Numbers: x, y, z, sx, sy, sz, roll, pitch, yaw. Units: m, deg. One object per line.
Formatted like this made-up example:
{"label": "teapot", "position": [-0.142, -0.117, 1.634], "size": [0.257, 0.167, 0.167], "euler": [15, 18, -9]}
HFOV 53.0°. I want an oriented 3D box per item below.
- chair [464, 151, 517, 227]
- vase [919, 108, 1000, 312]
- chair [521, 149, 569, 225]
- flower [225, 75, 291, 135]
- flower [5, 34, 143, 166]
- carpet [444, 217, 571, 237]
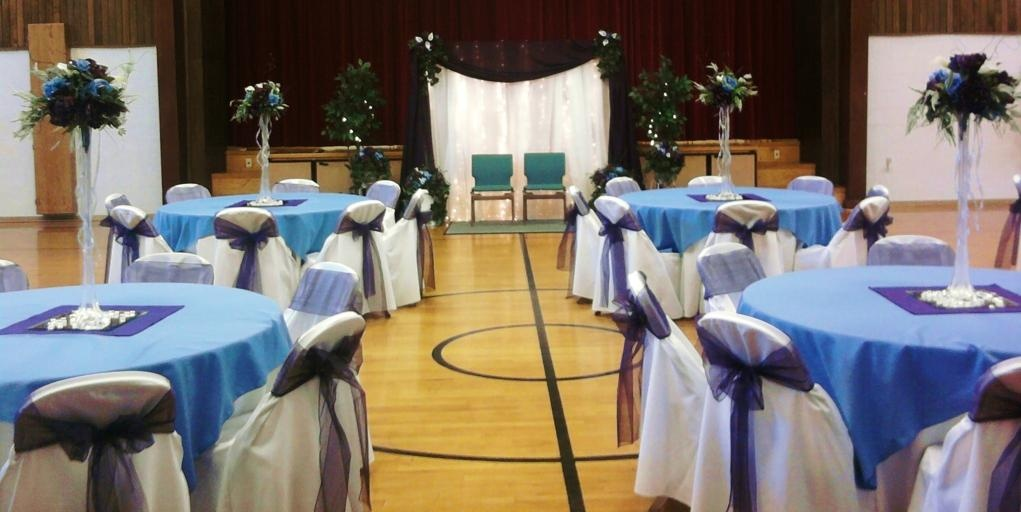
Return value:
{"label": "chair", "position": [-0.294, -1.143, 17.658], "size": [0.772, 1.166, 0.888], "euler": [-1, 8, -3]}
{"label": "vase", "position": [4.495, -0.426, 10.147], "size": [0.751, 1.793, 0.625], "euler": [3, -2, -24]}
{"label": "chair", "position": [0.593, -1.170, 17.574], "size": [0.755, 1.185, 0.795], "euler": [0, 7, 2]}
{"label": "flower", "position": [-3.074, -1.930, 12.850], "size": [0.556, 0.468, 0.762], "euler": [9, 23, -10]}
{"label": "flower", "position": [-4.180, -1.437, 10.165], "size": [0.759, 0.866, 0.883], "euler": [-10, -15, 13]}
{"label": "carpet", "position": [-0.090, -0.478, 17.287], "size": [1.957, 0.164, 1.247], "euler": [0, 7, -1]}
